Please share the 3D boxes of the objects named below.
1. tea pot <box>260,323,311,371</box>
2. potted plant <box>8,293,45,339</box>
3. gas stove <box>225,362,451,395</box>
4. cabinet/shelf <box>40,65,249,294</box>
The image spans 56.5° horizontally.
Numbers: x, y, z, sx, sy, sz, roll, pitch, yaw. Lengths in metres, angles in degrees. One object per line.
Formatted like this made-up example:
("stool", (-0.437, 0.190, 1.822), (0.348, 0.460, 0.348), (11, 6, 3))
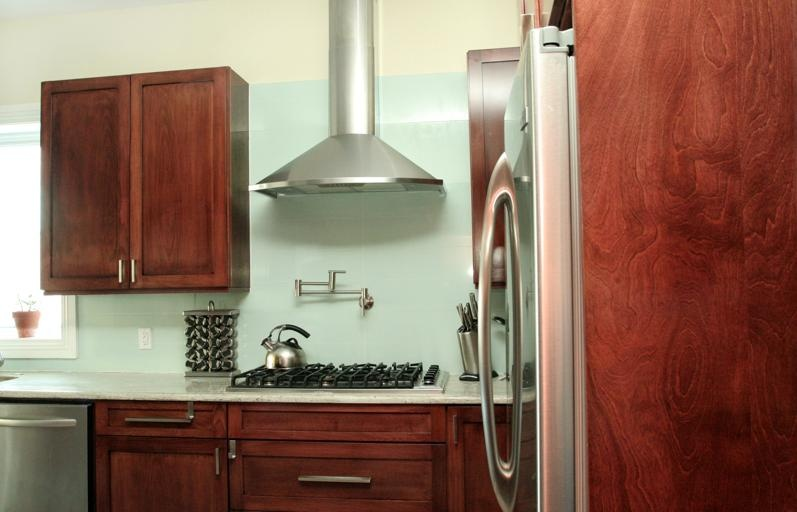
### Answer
("tea pot", (-0.582, 0.472, 3.868), (0.267, 0.240, 0.206), (-1, -7, -26))
("potted plant", (-2.165, 0.357, 4.293), (0.149, 0.240, 0.148), (4, -14, -31))
("gas stove", (-0.300, 0.611, 3.670), (1.073, 0.133, 0.531), (-2, -7, 4))
("cabinet/shelf", (-1.344, -0.370, 3.843), (1.175, 1.300, 0.438), (0, -2, 10))
